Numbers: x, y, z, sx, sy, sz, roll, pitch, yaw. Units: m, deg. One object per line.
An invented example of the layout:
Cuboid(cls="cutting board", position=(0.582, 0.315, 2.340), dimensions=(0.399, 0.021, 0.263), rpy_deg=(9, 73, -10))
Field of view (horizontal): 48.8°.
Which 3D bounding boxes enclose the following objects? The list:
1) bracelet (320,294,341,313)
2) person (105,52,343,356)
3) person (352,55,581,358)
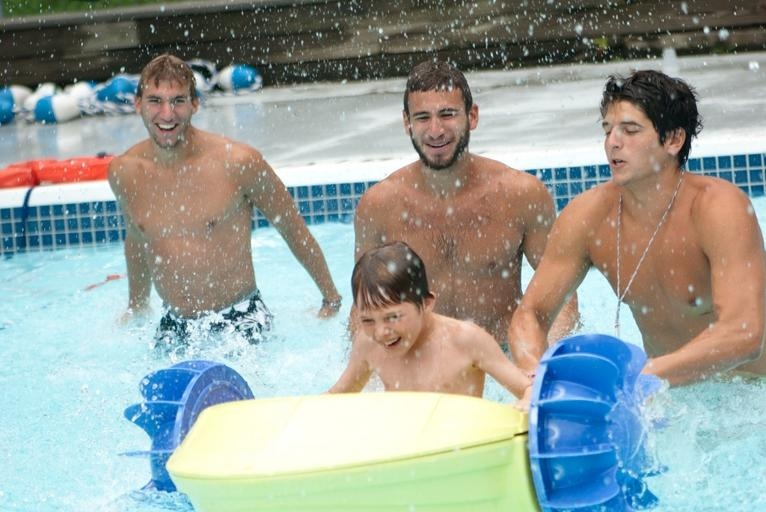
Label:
Cuboid(cls="bracelet", position=(-0.256, 0.239, 4.214), dimensions=(0.089, 0.106, 0.070), rpy_deg=(8, -11, -37))
Cuboid(cls="person", position=(-0.789, -0.261, 3.945), dimensions=(0.932, 1.303, 0.336), rpy_deg=(-8, 9, -16))
Cuboid(cls="person", position=(0.295, -0.183, 3.507), dimensions=(0.938, 1.296, 0.638), rpy_deg=(-3, 31, 15))
